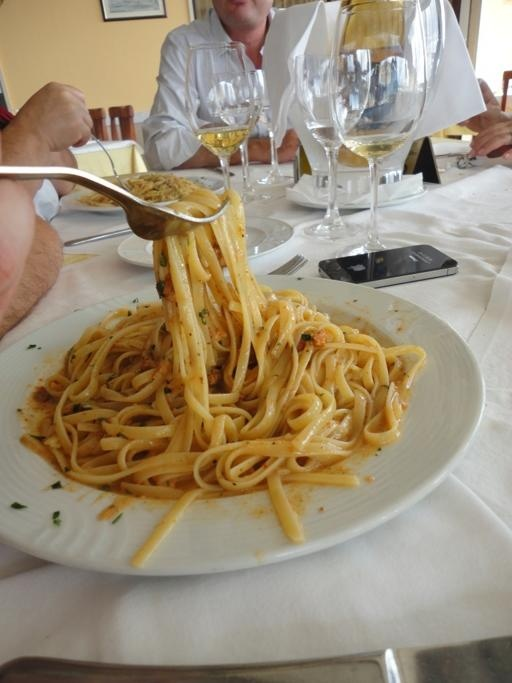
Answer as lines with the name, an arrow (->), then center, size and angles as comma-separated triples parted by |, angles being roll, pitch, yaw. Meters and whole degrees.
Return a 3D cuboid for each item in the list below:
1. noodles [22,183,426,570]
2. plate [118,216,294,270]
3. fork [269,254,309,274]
noodles -> -0.009, 0.003, 0.698 | 0.434, 0.365, 0.415 | -8, 17, -29
plate -> -0.101, -0.212, 1.128 | 0.360, 0.115, 0.276 | -10, 14, -25
fork -> 0.063, -0.135, 1.001 | 0.025, 0.017, 0.107 | 39, 41, 12
